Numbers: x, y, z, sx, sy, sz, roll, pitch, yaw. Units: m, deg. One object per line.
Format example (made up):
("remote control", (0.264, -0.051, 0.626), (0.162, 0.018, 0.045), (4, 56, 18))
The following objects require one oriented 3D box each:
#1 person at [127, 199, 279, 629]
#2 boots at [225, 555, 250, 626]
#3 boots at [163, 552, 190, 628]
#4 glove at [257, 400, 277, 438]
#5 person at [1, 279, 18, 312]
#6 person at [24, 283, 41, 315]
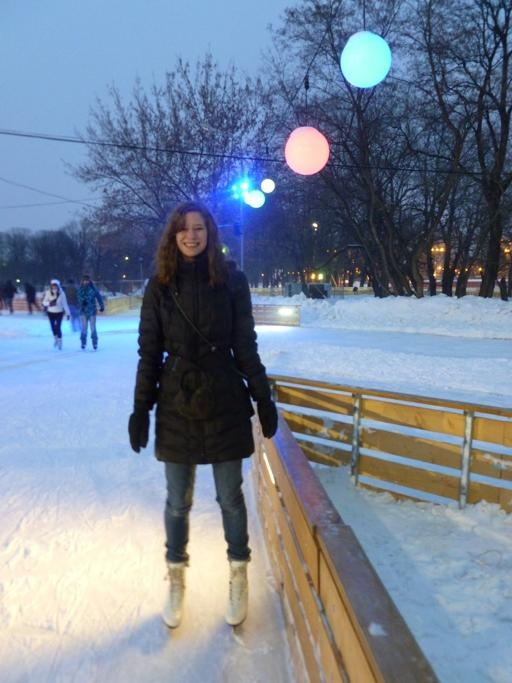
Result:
("person", (-0.200, 0.341, 2.356), (0.555, 1.943, 0.350), (1, 4, 2))
("boots", (-0.089, 1.156, 2.433), (0.075, 0.211, 0.269), (-3, 12, 10))
("boots", (-0.397, 1.187, 2.465), (0.101, 0.257, 0.352), (7, -7, -9))
("glove", (0.051, 0.366, 2.395), (0.078, 0.185, 0.063), (2, -11, -5))
("person", (-13.425, -2.460, 27.818), (0.682, 1.743, 2.357), (-2, 6, -27))
("person", (-12.222, -2.410, 28.098), (0.669, 1.620, 3.688), (-2, 7, -23))
